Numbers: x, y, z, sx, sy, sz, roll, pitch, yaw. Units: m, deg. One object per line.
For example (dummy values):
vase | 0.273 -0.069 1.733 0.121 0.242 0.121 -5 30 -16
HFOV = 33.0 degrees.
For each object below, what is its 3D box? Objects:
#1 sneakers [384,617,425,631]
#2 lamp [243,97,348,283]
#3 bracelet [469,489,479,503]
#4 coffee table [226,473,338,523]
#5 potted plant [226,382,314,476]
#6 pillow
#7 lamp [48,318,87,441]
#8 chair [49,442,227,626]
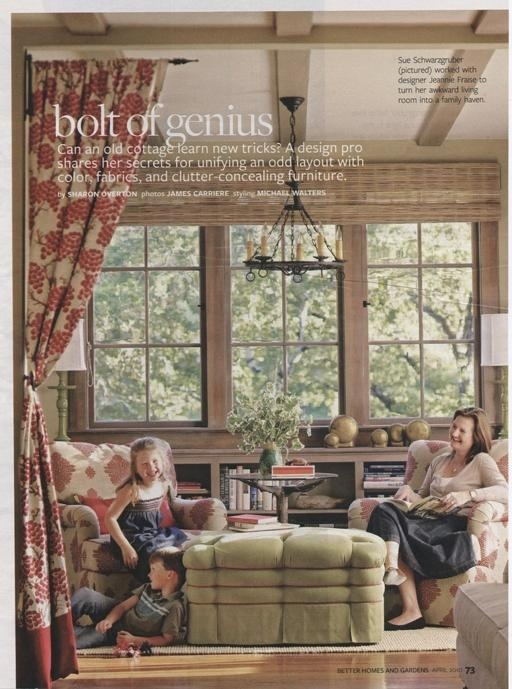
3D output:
sneakers | 0.601 1.120 3.489 0.174 0.040 0.054 3 -10 -3
lamp | 0.137 -0.667 3.733 0.431 0.737 0.569 -2 1 4
bracelet | 0.903 0.626 3.591 0.036 0.034 0.043 0 -11 4
coffee table | 0.116 0.694 3.736 0.343 0.202 0.318 -2 -11 6
potted plant | 0.068 0.409 3.880 0.318 0.338 0.319 11 -13 0
pillow | -0.624 0.683 3.603 0.283 0.175 0.066 1 -33 -17
lamp | -0.892 0.175 4.131 0.179 0.571 0.576 -3 1 -14
chair | -0.485 0.760 3.617 0.696 0.648 0.609 0 -5 -22
